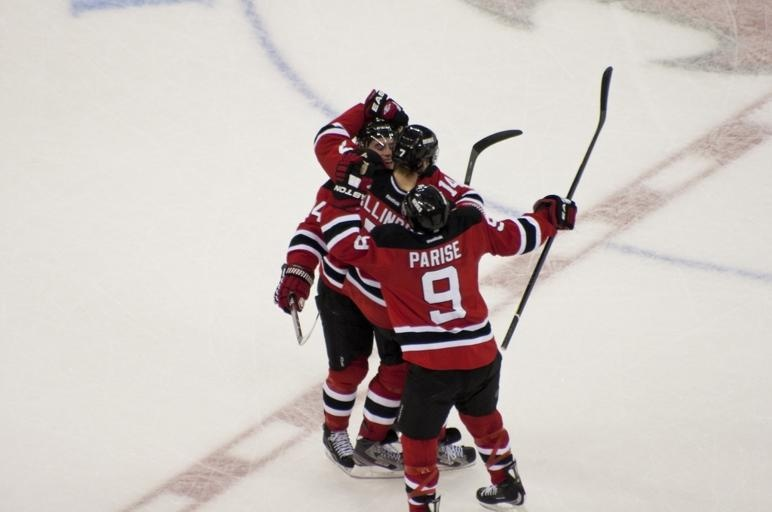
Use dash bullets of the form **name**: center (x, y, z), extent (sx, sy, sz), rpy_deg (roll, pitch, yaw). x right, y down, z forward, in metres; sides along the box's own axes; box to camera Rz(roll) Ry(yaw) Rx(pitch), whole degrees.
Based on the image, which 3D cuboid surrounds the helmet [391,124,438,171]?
- **helmet**: center (0.165, -0.646, 5.709), extent (0.237, 0.281, 0.289), rpy_deg (18, 55, 9)

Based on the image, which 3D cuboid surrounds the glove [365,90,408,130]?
- **glove**: center (-0.021, -0.932, 6.067), extent (0.326, 0.126, 0.184), rpy_deg (29, 68, -13)

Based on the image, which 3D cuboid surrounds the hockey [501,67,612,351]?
- **hockey**: center (1.309, -0.285, 7.101), extent (0.168, 0.311, 2.853), rpy_deg (17, 59, 26)

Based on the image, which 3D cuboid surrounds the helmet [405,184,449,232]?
- **helmet**: center (0.202, -0.277, 5.542), extent (0.231, 0.244, 0.278), rpy_deg (-11, 60, -9)
